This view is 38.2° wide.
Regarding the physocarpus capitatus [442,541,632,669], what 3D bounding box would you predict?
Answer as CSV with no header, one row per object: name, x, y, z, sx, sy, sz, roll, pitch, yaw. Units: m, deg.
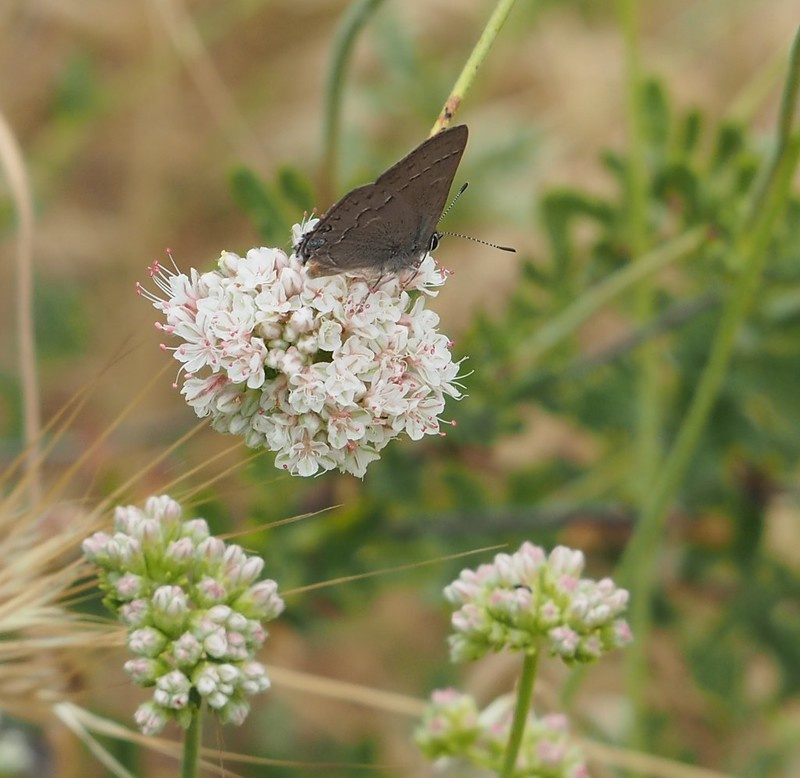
physocarpus capitatus,0.477,0.762,4.094,0.638,0.388,0.307,-4,-60,4

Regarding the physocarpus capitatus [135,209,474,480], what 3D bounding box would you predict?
physocarpus capitatus,-0.316,-0.121,4.128,1.013,0.975,0.572,24,-67,-19

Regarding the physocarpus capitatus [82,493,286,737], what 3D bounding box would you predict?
physocarpus capitatus,-0.776,0.757,4.011,0.756,0.779,0.522,23,-62,-11
